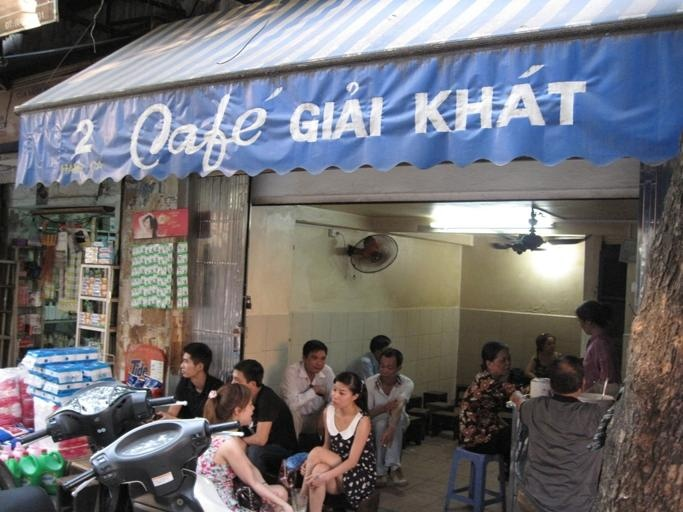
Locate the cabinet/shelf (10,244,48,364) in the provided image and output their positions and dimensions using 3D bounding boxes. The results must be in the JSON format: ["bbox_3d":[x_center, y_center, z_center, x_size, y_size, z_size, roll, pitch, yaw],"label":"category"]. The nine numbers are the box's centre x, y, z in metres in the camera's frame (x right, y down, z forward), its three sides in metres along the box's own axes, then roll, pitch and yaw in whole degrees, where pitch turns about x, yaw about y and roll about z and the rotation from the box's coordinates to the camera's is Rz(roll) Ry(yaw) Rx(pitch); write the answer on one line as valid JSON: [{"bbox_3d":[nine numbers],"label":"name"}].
[{"bbox_3d":[-4.538,0.427,8.866,0.341,1.779,0.356,-1,3,-33],"label":"cabinet/shelf"}]

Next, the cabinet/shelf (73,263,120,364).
[{"bbox_3d":[-2.626,0.605,6.659,0.261,1.045,0.655,5,-4,-44],"label":"cabinet/shelf"}]

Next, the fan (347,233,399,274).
[{"bbox_3d":[0.421,-0.025,8.414,0.344,0.537,0.800,0,-4,36],"label":"fan"}]

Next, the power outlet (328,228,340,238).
[{"bbox_3d":[-0.105,-0.290,7.922,0.032,0.117,0.121,13,6,39],"label":"power outlet"}]
